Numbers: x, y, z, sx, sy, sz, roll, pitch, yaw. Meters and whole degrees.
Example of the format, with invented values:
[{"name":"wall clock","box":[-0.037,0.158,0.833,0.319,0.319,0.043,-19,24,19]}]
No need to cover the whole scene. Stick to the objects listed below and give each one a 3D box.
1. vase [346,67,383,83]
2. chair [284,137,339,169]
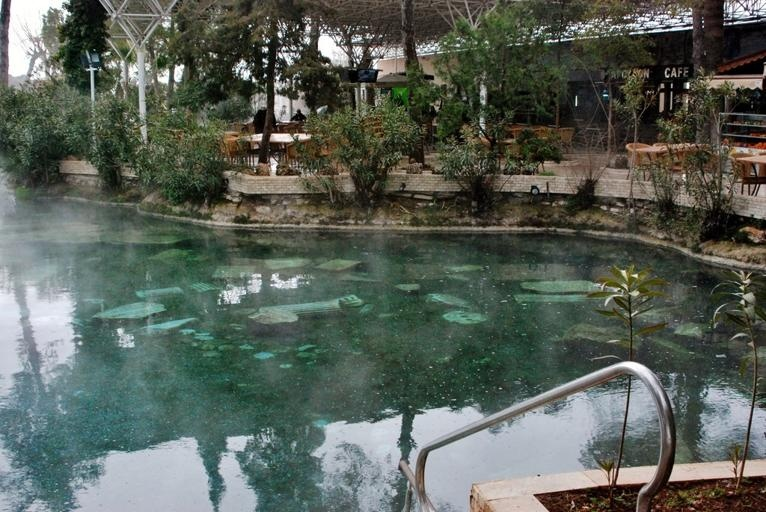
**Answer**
[{"name":"vase","box":[-0.721,-6.541,20.871,0.843,0.308,0.601,-7,26,-13]},{"name":"chair","box":[-2.103,-3.151,17.867,1.244,0.683,1.408,-1,23,-10]}]
